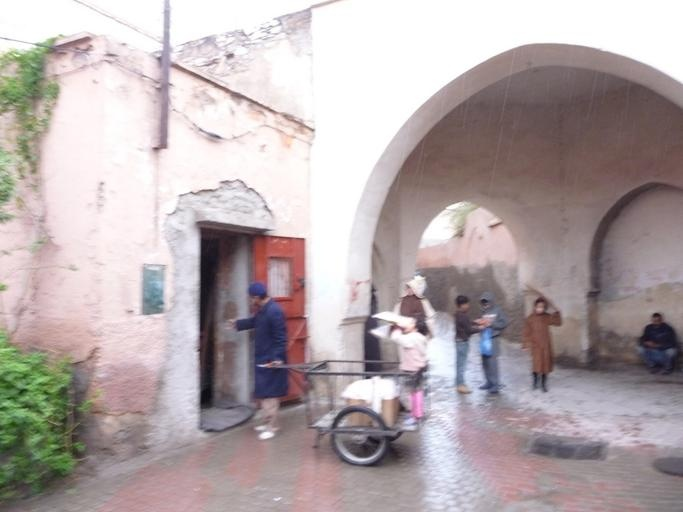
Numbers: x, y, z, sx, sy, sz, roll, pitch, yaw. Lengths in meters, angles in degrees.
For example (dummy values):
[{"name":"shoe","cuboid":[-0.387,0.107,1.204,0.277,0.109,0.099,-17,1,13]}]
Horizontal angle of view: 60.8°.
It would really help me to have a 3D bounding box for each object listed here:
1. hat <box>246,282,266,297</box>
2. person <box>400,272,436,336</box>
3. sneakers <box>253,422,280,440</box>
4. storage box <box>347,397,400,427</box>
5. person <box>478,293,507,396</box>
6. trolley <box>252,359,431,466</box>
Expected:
[{"name":"hat","cuboid":[-1.130,0.442,7.745,0.179,0.192,0.218,-4,9,-16]},{"name":"person","cuboid":[1.229,0.718,10.046,0.759,0.481,0.989,7,-39,11]},{"name":"sneakers","cuboid":[-1.008,2.296,7.630,0.279,0.112,0.139,1,8,7]},{"name":"storage box","cuboid":[0.392,1.818,6.874,0.586,0.296,0.217,0,7,1]},{"name":"person","cuboid":[2.537,1.482,9.875,0.413,1.640,0.824,2,8,16]},{"name":"trolley","cuboid":[0.079,1.978,7.443,1.991,1.154,1.240,-2,-9,17]}]
